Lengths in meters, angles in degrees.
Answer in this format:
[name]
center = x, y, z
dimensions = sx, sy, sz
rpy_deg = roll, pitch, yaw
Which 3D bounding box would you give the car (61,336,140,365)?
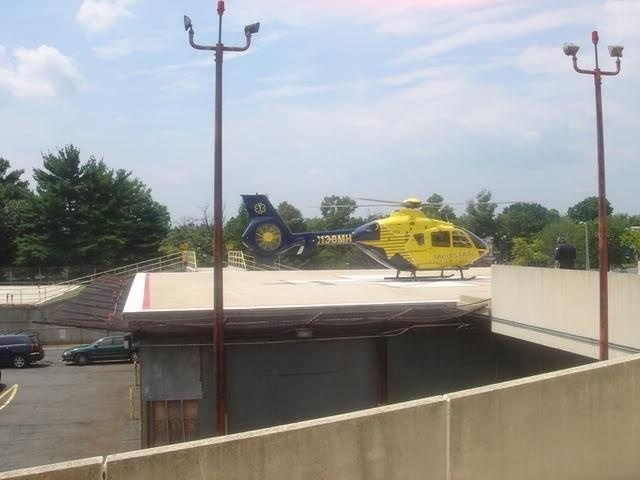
[car]
center = -11.453, 5.888, 51.331
dimensions = 3.930, 1.624, 2.171
rpy_deg = -5, 1, 14

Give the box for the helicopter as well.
[helicopter]
center = 3.253, -0.196, 47.083
dimensions = 13.509, 4.476, 11.223
rpy_deg = -3, -3, 1
